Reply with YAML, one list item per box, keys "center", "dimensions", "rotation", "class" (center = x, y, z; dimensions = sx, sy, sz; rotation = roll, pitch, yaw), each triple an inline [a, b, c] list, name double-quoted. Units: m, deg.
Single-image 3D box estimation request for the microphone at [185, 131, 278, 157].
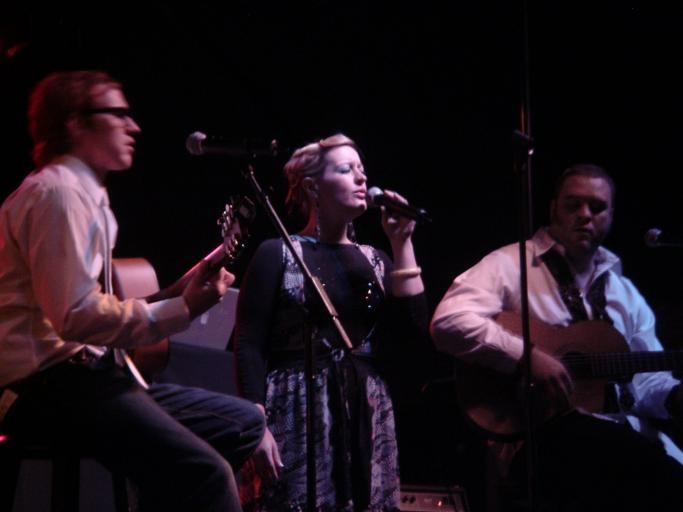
- center: [-0.438, -0.430, 2.642]
  dimensions: [0.415, 0.136, 0.131]
  rotation: [3, 7, -4]
  class: "microphone"
